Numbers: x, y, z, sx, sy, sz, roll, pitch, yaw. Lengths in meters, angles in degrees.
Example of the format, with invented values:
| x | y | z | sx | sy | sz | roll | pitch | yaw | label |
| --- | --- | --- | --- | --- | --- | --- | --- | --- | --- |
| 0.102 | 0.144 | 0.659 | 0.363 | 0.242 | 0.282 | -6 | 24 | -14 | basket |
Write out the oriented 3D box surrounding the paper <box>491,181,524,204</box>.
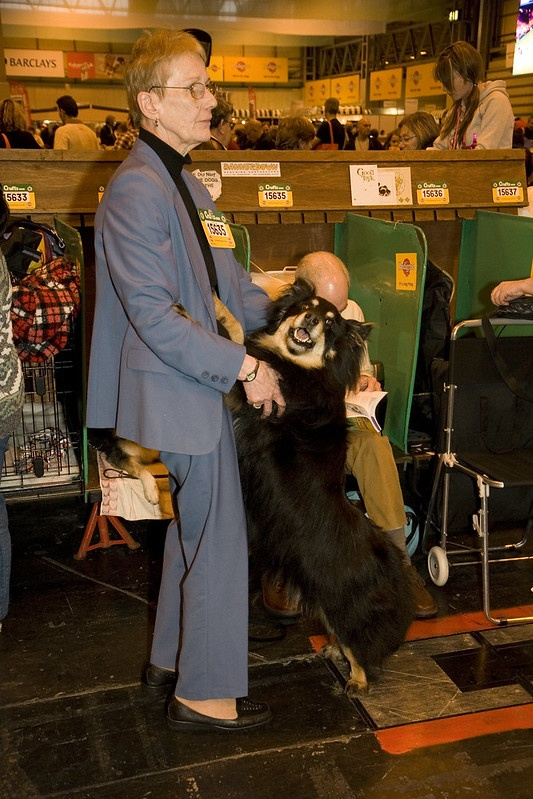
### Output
| x | y | z | sx | sy | sz | roll | pitch | yaw | label |
| --- | --- | --- | --- | --- | --- | --- | --- | --- | --- |
| 1.853 | -1.587 | 4.462 | 0.327 | 0.174 | 0.030 | -3 | 8 | -25 | paper |

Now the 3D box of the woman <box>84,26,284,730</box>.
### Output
| x | y | z | sx | sy | sz | roll | pitch | yaw | label |
| --- | --- | --- | --- | --- | --- | --- | --- | --- | --- |
| -0.209 | 0.000 | 1.645 | 0.601 | 1.820 | 0.581 | -1 | 8 | -16 | woman |

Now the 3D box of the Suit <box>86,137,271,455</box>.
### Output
| x | y | z | sx | sy | sz | roll | pitch | yaw | label |
| --- | --- | --- | --- | --- | --- | --- | --- | --- | --- |
| -0.274 | -0.265 | 1.479 | 0.279 | 0.812 | 0.417 | -4 | 9 | -32 | Suit |

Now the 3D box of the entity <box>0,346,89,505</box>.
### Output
| x | y | z | sx | sy | sz | roll | pitch | yaw | label |
| --- | --- | --- | --- | --- | --- | --- | --- | --- | --- |
| -0.932 | 0.115 | 2.460 | 0.355 | 0.624 | 0.639 | -1 | 15 | -10 | entity |

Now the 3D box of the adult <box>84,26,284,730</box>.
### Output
| x | y | z | sx | sy | sz | roll | pitch | yaw | label |
| --- | --- | --- | --- | --- | --- | --- | --- | --- | --- |
| -0.215 | -0.015 | 1.643 | 0.593 | 1.803 | 0.573 | -1 | 9 | -13 | adult |

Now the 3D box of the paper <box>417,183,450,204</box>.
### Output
| x | y | z | sx | sy | sz | roll | pitch | yaw | label |
| --- | --- | --- | --- | --- | --- | --- | --- | --- | --- |
| 1.191 | -1.499 | 4.215 | 0.176 | 0.122 | 0.009 | -2 | 0 | -14 | paper |

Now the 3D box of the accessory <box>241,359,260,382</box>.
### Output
| x | y | z | sx | sy | sz | roll | pitch | yaw | label |
| --- | --- | --- | --- | --- | --- | --- | --- | --- | --- |
| -0.035 | -0.070 | 1.458 | 0.018 | 0.047 | 0.049 | 28 | -7 | 6 | accessory |

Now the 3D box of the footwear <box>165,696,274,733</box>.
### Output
| x | y | z | sx | sy | sz | roll | pitch | yaw | label |
| --- | --- | --- | --- | --- | --- | --- | --- | --- | --- |
| -0.138 | 0.942 | 1.707 | 0.302 | 0.116 | 0.118 | 0 | -2 | -13 | footwear |
